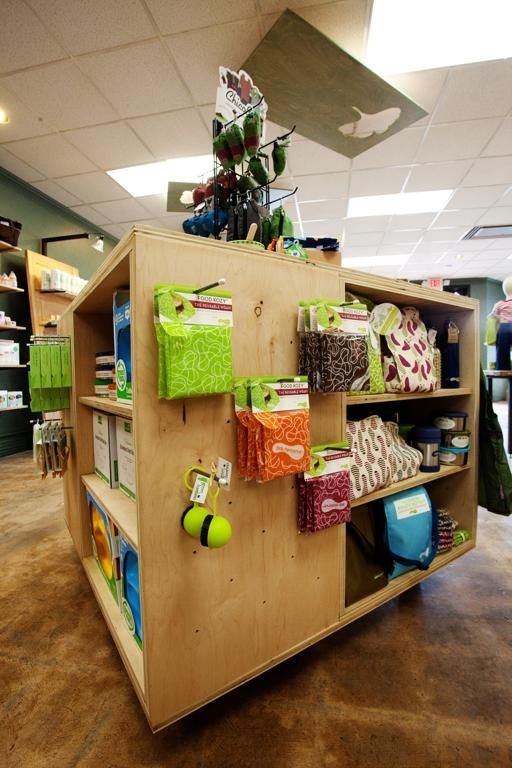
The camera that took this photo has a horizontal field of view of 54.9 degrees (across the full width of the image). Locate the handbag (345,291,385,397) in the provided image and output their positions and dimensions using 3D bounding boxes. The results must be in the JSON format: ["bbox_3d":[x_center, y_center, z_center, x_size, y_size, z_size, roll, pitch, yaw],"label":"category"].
[{"bbox_3d":[0.357,-0.129,1.620,0.145,0.340,0.517,3,13,14],"label":"handbag"}]

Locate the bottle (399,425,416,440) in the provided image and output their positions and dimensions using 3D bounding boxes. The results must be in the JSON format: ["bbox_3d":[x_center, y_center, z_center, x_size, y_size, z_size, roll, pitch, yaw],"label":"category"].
[{"bbox_3d":[0.605,0.192,1.968,0.044,0.075,0.018,1,10,-30],"label":"bottle"}]

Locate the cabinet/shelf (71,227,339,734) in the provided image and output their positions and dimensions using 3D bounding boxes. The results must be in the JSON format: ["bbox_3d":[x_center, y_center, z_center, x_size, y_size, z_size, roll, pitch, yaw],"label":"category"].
[{"bbox_3d":[-0.180,0.166,1.520,0.641,1.187,0.784,-8,15,-32],"label":"cabinet/shelf"}]

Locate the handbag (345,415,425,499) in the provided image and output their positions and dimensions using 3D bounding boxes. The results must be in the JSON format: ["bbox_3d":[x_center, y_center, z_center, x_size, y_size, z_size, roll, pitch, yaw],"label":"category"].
[{"bbox_3d":[0.433,0.242,1.733,0.152,0.227,0.467,12,17,43],"label":"handbag"}]

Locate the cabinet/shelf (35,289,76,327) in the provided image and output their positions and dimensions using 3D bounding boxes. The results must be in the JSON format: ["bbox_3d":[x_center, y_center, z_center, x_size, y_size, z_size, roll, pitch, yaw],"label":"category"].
[{"bbox_3d":[-1.849,-0.698,4.584,0.234,0.352,0.620,-1,13,-5],"label":"cabinet/shelf"}]

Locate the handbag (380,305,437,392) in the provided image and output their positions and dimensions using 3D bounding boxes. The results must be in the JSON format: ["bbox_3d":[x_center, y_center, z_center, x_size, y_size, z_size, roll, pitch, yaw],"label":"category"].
[{"bbox_3d":[0.546,-0.120,1.778,0.107,0.382,0.268,-13,-15,43],"label":"handbag"}]
